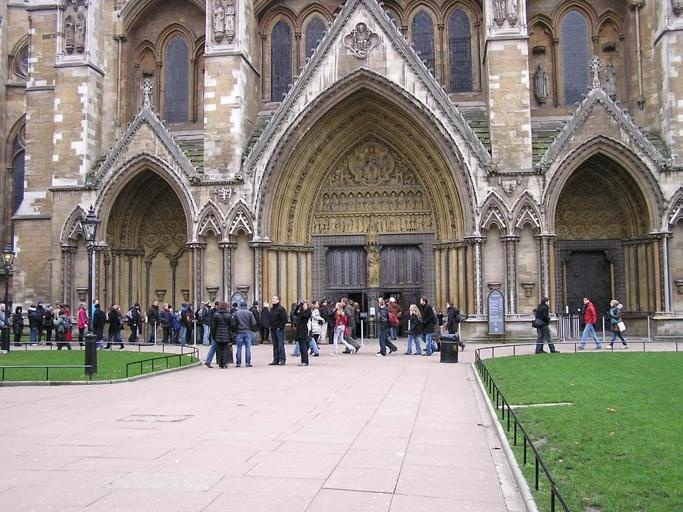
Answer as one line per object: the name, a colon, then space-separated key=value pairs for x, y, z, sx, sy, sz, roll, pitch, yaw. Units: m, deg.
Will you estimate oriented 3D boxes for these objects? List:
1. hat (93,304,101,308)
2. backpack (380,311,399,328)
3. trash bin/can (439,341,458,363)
hat: x=-9.688 y=1.984 z=37.277 sx=0.164 sy=0.199 sz=0.217 roll=1 pitch=-10 yaw=-11
backpack: x=1.854 y=2.462 z=36.615 sx=0.469 sy=0.806 sz=0.859 roll=-13 pitch=-8 yaw=18
trash bin/can: x=3.715 y=3.268 z=32.379 sx=0.713 sy=0.745 sz=0.718 roll=-4 pitch=-5 yaw=44
